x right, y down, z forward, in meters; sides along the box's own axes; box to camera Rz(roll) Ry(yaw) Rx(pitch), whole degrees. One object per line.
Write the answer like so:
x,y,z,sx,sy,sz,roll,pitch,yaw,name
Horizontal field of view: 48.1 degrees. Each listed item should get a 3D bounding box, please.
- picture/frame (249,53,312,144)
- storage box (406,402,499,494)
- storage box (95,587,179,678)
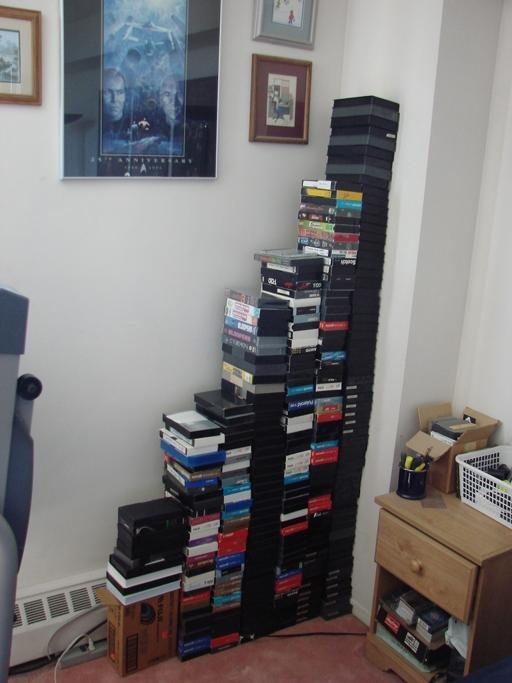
0.088,-0.978,2.290,0.360,0.379,0.028,-8,23,-35,picture/frame
0.766,0.360,2.268,0.336,0.321,0.326,-1,10,-20,storage box
-0.420,1.045,2.067,0.315,0.299,0.112,-8,23,-31,storage box
